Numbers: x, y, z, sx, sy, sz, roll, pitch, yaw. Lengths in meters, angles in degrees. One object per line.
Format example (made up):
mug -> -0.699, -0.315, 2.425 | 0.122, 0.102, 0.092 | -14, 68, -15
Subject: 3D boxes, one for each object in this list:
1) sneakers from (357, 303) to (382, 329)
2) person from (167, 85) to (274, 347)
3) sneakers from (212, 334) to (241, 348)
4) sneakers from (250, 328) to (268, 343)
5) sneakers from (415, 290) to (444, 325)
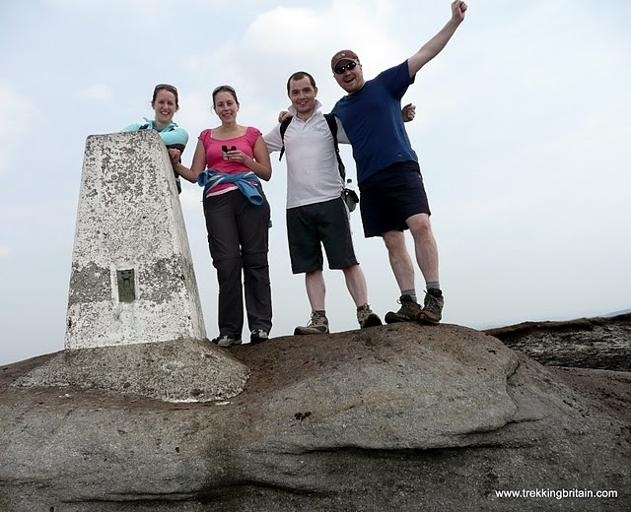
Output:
sneakers -> 0.525, 0.553, 4.675 | 0.201, 0.246, 0.596 | -9, -9, 4
person -> -0.851, -0.438, 5.160 | 0.895, 2.695, 0.470 | -8, -10, 0
sneakers -> -0.889, 0.859, 5.019 | 0.285, 0.137, 0.241 | -6, -10, -13
sneakers -> -0.563, 0.812, 5.041 | 0.214, 0.142, 0.147 | -9, -10, 3
sneakers -> 1.074, 0.471, 4.569 | 0.258, 0.342, 0.154 | -10, -10, 10
